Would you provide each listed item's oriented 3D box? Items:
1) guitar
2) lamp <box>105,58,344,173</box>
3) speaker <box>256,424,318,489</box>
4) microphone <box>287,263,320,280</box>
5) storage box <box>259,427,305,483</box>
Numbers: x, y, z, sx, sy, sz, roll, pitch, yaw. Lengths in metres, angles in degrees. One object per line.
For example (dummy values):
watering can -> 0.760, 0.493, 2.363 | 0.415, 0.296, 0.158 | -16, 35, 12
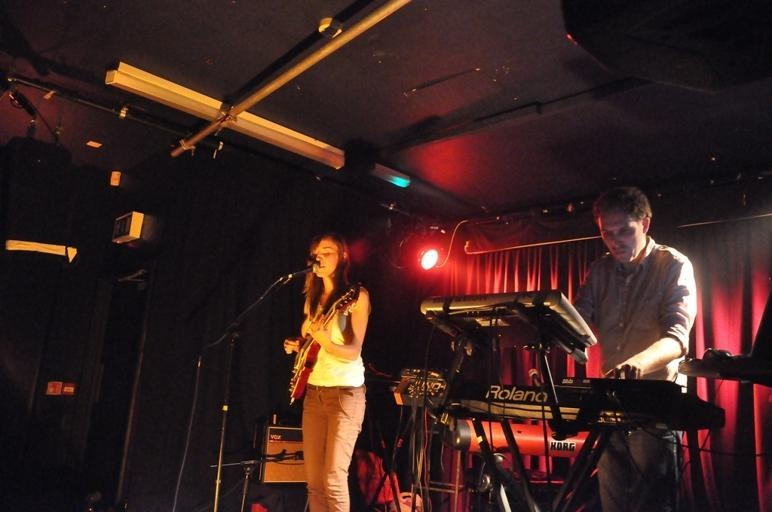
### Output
guitar -> -0.504, 0.759, 5.772 | 0.218, 0.512, 1.277 | 22, -41, -6
lamp -> -1.453, -1.338, 6.445 | 2.237, 0.289, 0.292 | 13, -19, -29
speaker -> -0.893, 1.810, 6.147 | 0.629, 0.623, 0.316 | 20, -24, -40
microphone -> -0.785, 0.131, 6.476 | 0.071, 0.080, 0.266 | 9, 29, 45
storage box -> -0.979, 1.848, 6.336 | 0.507, 0.498, 0.267 | 29, -30, -35
